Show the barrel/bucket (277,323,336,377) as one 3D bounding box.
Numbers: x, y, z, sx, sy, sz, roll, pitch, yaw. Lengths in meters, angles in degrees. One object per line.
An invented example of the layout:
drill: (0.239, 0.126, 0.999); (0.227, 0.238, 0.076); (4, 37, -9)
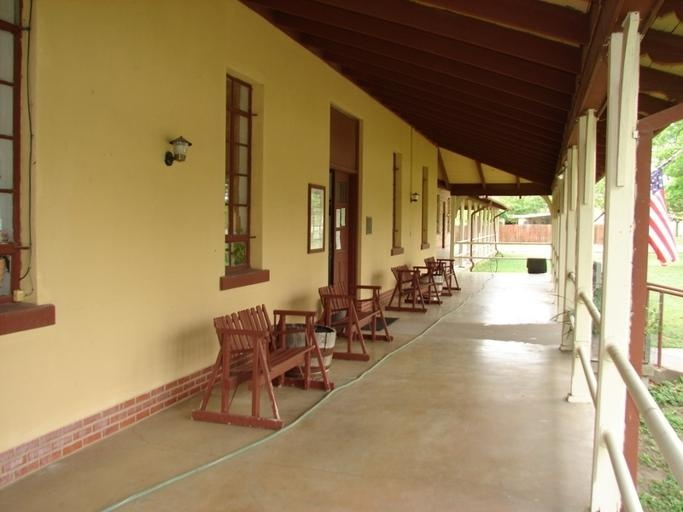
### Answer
barrel/bucket: (-0.329, 1.032, 5.897); (0.430, 0.416, 0.517); (0, -3, 3)

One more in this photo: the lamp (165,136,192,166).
lamp: (-1.498, -0.937, 4.900); (0.232, 0.314, 0.236); (-4, -6, 33)
